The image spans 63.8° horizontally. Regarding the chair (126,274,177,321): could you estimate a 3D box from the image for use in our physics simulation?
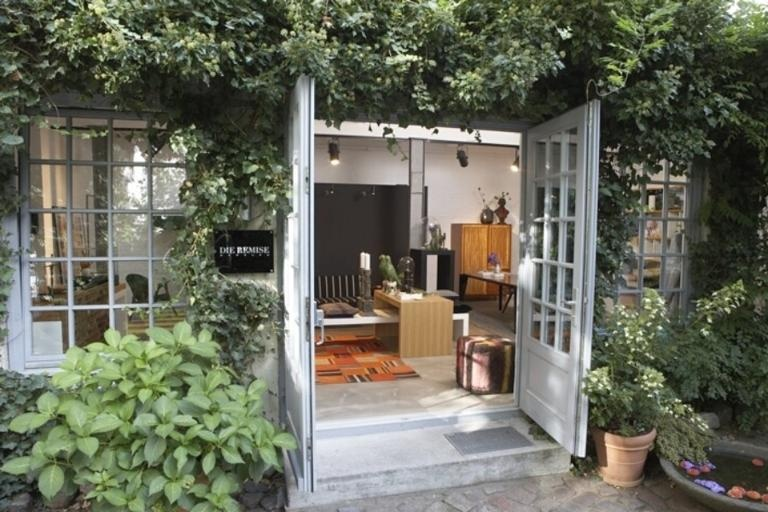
[{"bbox_3d":[-2.134,0.366,5.602,0.416,0.559,0.377,-1,-1,44],"label":"chair"}]

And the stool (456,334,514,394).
[{"bbox_3d":[1.111,1.181,6.892,0.564,0.500,0.565,-1,3,-16],"label":"stool"}]

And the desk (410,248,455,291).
[{"bbox_3d":[0.939,0.338,10.799,0.563,0.812,0.447,-4,-14,-12],"label":"desk"}]

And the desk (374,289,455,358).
[{"bbox_3d":[0.503,0.867,8.062,0.653,0.614,1.273,-1,4,-14],"label":"desk"}]

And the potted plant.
[{"bbox_3d":[2.084,1.492,5.442,0.749,1.063,0.376,1,3,2],"label":"potted plant"}]

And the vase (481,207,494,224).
[{"bbox_3d":[2.077,-0.823,12.499,0.274,0.344,0.334,1,3,9],"label":"vase"}]

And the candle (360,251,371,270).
[{"bbox_3d":[-0.239,0.071,7.990,0.105,0.214,0.184,0,3,-12],"label":"candle"}]
